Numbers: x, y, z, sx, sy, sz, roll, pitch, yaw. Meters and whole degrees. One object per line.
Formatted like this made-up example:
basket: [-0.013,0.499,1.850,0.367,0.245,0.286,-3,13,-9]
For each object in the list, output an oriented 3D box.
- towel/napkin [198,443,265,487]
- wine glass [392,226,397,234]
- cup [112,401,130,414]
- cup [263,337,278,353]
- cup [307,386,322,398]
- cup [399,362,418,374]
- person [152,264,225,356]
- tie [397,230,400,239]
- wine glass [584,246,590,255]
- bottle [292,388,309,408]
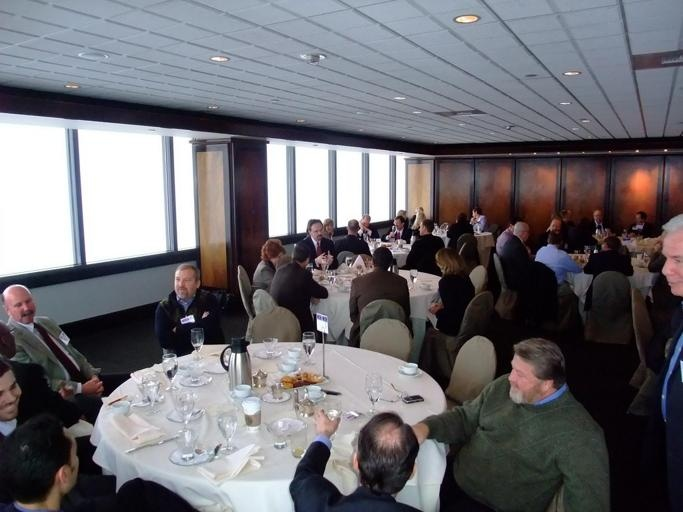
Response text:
towel/napkin: [-0.548,1.047,2.432,0.145,0.039,0.190,5,9,39]
wine glass: [1.128,-0.553,10.443,0.078,0.113,0.106,-2,1,0]
cup: [-1.335,0.908,2.936,0.082,0.052,0.076,2,3,0]
cup: [-0.530,0.675,3.662,0.096,0.086,0.097,0,0,0]
cup: [-0.165,0.829,2.962,0.056,0.052,0.071,-2,1,-34]
cup: [0.458,0.774,3.327,0.067,0.049,0.091,-4,5,-16]
person: [-1.392,0.567,4.379,0.586,0.914,0.598,0,8,-20]
tie: [1.169,-0.422,10.127,0.039,0.123,0.087,4,-12,-24]
wine glass: [4.028,-0.085,7.983,0.060,0.053,0.154,20,-14,16]
bottle: [-0.255,0.858,2.958,0.114,0.116,0.069,-6,10,-37]
